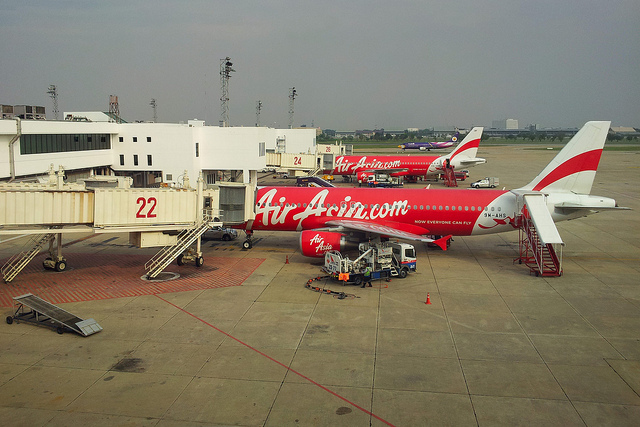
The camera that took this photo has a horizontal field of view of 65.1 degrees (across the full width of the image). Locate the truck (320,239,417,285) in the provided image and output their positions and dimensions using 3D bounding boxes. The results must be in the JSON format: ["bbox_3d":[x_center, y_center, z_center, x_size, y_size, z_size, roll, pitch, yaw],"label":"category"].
[{"bbox_3d":[4.682,4.180,42.095,7.110,1.937,2.445,-5,7,-18],"label":"truck"}]

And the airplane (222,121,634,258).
[{"bbox_3d":[8.479,-2.562,51.365,34.466,12.212,21.564,-1,7,-7],"label":"airplane"}]

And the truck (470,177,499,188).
[{"bbox_3d":[31.546,-5.818,96.212,5.173,1.565,2.574,2,6,13],"label":"truck"}]
